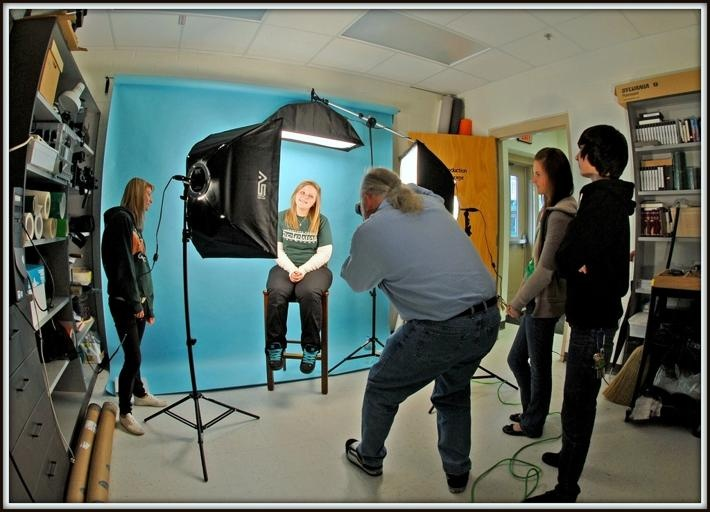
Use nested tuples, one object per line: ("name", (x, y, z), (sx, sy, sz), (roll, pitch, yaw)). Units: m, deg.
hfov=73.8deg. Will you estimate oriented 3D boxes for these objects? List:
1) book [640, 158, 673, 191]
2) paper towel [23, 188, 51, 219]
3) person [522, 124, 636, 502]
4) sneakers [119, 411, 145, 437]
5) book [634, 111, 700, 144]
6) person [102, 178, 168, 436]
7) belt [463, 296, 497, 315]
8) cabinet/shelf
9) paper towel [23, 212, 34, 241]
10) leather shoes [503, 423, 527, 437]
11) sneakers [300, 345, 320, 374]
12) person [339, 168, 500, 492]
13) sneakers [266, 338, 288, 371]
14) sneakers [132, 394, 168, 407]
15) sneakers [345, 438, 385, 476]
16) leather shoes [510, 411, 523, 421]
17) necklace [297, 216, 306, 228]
("book", (2.699, -0.696, 4.282), (0.246, 0.340, 0.355), (-4, -2, 38))
("paper towel", (-2.160, -0.351, 3.215), (0.124, 0.205, 0.363), (-2, 2, -20))
("person", (1.370, 0.351, 2.820), (0.590, 2.244, 0.256), (-1, 2, -2))
("sneakers", (-1.617, 1.224, 3.432), (0.254, 0.094, 0.095), (13, 13, 33))
("book", (2.746, -1.130, 4.190), (0.481, 0.320, 0.133), (0, 2, 29))
("person", (-1.687, 0.345, 3.566), (0.349, 1.874, 0.432), (-2, 2, -10))
("belt", (0.723, 0.288, 2.688), (0.121, 0.028, 0.119), (-20, 2, 46))
("cabinet/shelf", (-1.759, 0.831, 2.633), (0.159, 1.166, 0.453), (-2, 2, -11))
("paper towel", (-2.070, -0.186, 3.020), (0.049, 0.175, 0.253), (-3, 2, -33))
("leather shoes", (1.156, 1.258, 3.444), (0.173, 0.040, 0.069), (4, 16, 17))
("sneakers", (-0.367, 0.854, 3.902), (0.098, 0.115, 0.290), (17, 41, -18))
("person", (0.395, 0.461, 2.832), (0.888, 2.000, 0.412), (-1, 2, 14))
("sneakers", (-0.648, 0.812, 3.900), (0.100, 0.303, 0.130), (-3, -24, -1))
("sneakers", (-1.633, 1.160, 3.830), (0.304, 0.120, 0.101), (3, -4, -7))
("sneakers", (0.063, 1.322, 3.125), (0.134, 0.111, 0.285), (-7, 24, -28))
("leather shoes", (1.211, 1.215, 3.569), (0.055, 0.050, 0.143), (1, -1, 17))
("necklace", (-0.473, -0.309, 4.243), (0.085, 0.082, 0.023), (2, -1, -18))
